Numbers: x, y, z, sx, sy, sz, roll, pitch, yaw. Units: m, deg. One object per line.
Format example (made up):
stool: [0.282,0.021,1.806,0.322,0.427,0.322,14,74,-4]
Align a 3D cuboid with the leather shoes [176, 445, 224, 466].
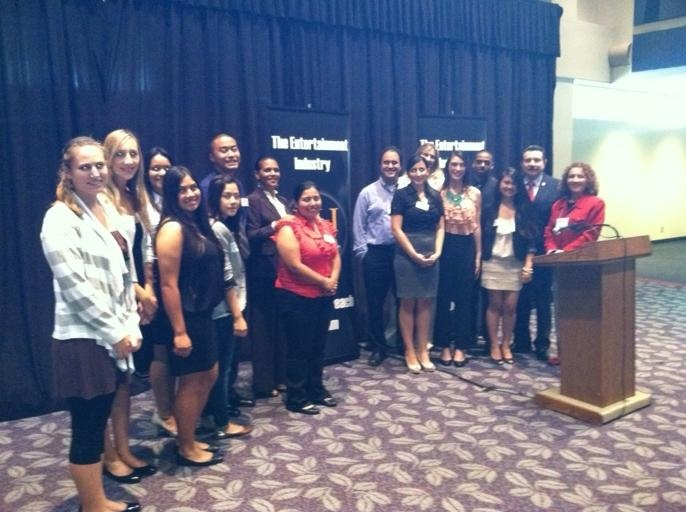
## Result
leather shoes: [-0.919,1.326,3.752,0.208,0.066,0.140,-1,5,-14]

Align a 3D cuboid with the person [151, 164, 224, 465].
person: [-0.943,0.412,3.623,0.347,1.912,0.394,0,12,7]

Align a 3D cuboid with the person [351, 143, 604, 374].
person: [1.785,-0.013,5.345,1.084,1.965,0.905,3,13,19]

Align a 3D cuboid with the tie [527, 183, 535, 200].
tie: [1.803,-0.623,5.546,0.043,0.211,0.031,-16,-39,41]

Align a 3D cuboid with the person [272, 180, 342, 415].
person: [-0.250,0.323,4.421,0.492,1.746,0.418,-8,14,-27]

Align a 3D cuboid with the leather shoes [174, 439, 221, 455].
leather shoes: [-0.962,1.258,3.856,0.324,0.123,0.107,3,4,-14]

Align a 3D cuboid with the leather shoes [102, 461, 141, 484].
leather shoes: [-1.395,1.370,3.624,0.276,0.105,0.099,0,-2,2]

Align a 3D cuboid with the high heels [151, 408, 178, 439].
high heels: [-1.301,1.209,4.064,0.285,0.111,0.106,23,18,35]
